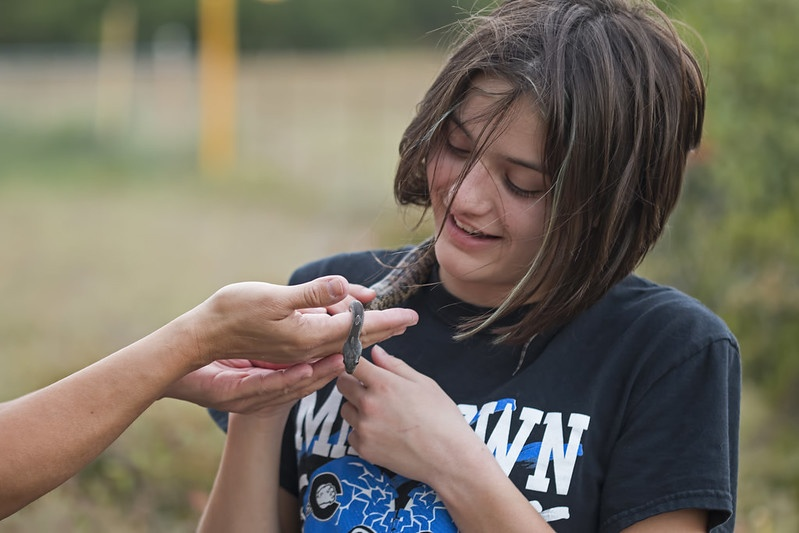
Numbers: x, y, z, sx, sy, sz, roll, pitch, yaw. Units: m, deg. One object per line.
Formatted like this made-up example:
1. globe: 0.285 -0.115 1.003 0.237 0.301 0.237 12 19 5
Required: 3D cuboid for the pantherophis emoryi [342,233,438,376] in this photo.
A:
1. pantherophis emoryi: -0.017 0.116 5.334 0.109 0.295 1.042 26 43 0
